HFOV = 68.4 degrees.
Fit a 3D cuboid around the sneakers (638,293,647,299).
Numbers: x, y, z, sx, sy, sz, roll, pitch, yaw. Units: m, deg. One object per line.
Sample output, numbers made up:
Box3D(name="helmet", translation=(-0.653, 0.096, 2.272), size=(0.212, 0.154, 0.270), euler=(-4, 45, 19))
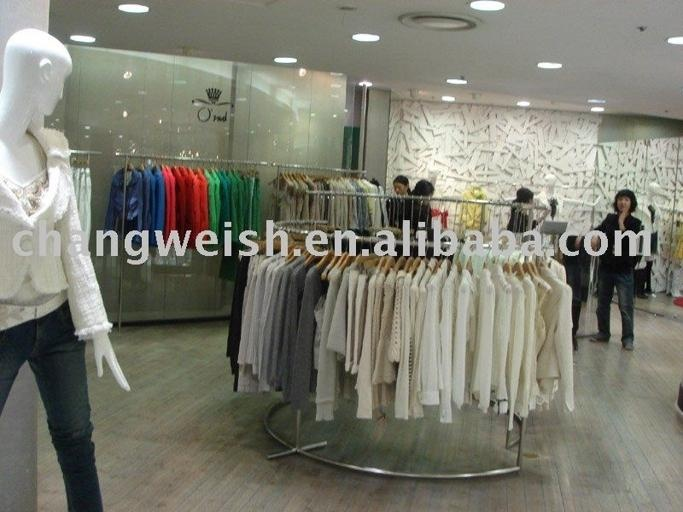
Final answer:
Box3D(name="sneakers", translation=(5.405, 0.695, 9.045), size=(0.200, 0.104, 0.073), euler=(-3, 3, -17))
